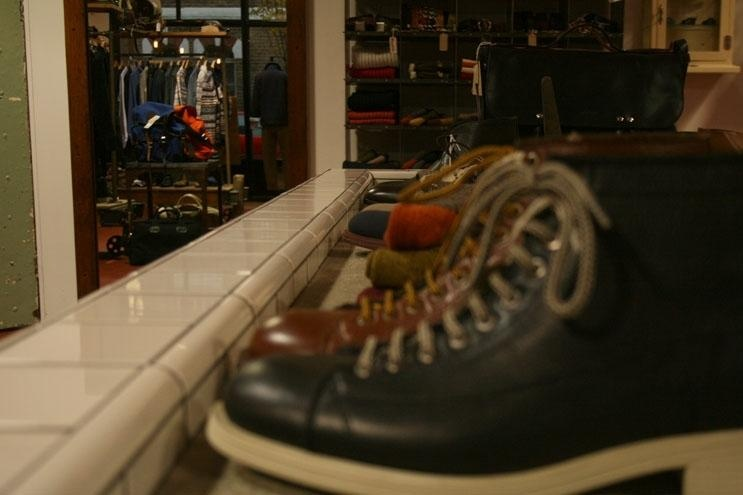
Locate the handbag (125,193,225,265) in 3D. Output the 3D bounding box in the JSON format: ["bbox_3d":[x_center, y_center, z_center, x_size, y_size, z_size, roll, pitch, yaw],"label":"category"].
[{"bbox_3d":[-0.936,-0.102,2.942,0.339,0.235,0.278,-23,9,-2],"label":"handbag"}]

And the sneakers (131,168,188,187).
[{"bbox_3d":[-1.364,-0.449,4.015,0.317,0.127,0.111,0,12,3],"label":"sneakers"}]

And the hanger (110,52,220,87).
[{"bbox_3d":[-1.474,-1.235,4.617,0.737,0.309,0.488,-6,16,-20],"label":"hanger"}]
